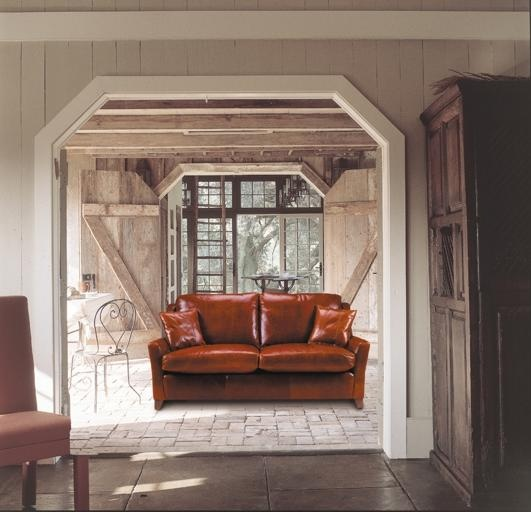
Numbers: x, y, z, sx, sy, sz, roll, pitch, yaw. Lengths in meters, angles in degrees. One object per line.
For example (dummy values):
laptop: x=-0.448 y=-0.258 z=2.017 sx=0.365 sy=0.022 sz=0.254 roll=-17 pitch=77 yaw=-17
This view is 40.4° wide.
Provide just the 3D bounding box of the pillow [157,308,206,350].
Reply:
pillow: x=-0.719 y=0.622 z=6.256 sx=0.329 sy=0.321 sz=0.099 roll=-5 pitch=-27 yaw=-46

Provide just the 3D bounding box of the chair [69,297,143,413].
chair: x=-1.561 y=1.041 z=7.690 sx=0.598 sy=0.992 sz=0.625 roll=6 pitch=-16 yaw=-20

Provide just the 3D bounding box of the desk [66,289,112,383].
desk: x=-1.690 y=0.803 z=6.888 sx=0.439 sy=0.719 sz=0.424 roll=-2 pitch=16 yaw=-30
